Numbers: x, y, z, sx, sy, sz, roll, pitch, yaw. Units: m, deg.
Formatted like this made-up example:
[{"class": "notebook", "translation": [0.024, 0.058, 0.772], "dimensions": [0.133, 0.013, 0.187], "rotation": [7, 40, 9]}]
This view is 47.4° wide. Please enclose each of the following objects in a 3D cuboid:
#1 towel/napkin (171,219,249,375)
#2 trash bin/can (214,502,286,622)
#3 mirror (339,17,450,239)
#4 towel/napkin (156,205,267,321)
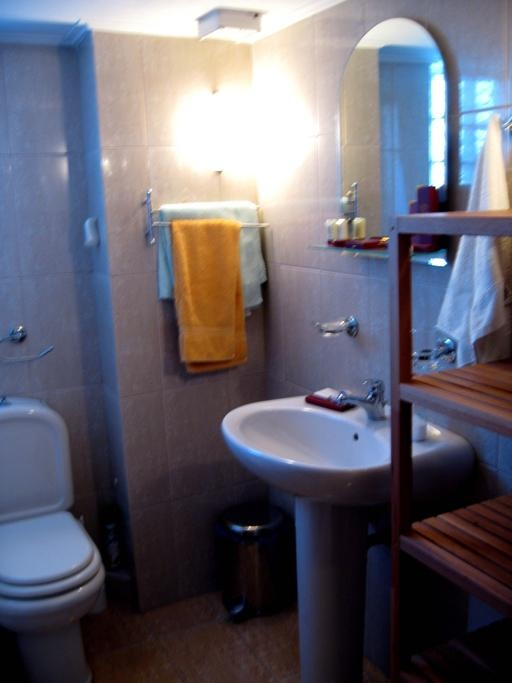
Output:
[{"class": "towel/napkin", "translation": [-0.170, -0.170, 2.068], "dimensions": [0.216, 0.585, 0.072], "rotation": [-6, 30, -11]}, {"class": "trash bin/can", "translation": [-0.024, 0.823, 2.257], "dimensions": [0.205, 0.384, 0.339], "rotation": [-1, 10, -1]}, {"class": "mirror", "translation": [0.332, -0.529, 1.458], "dimensions": [0.029, 0.518, 0.434], "rotation": [-4, 7, -20]}, {"class": "towel/napkin", "translation": [-0.109, -0.330, 2.203], "dimensions": [0.292, 0.429, 0.090], "rotation": [-5, 11, -16]}]
